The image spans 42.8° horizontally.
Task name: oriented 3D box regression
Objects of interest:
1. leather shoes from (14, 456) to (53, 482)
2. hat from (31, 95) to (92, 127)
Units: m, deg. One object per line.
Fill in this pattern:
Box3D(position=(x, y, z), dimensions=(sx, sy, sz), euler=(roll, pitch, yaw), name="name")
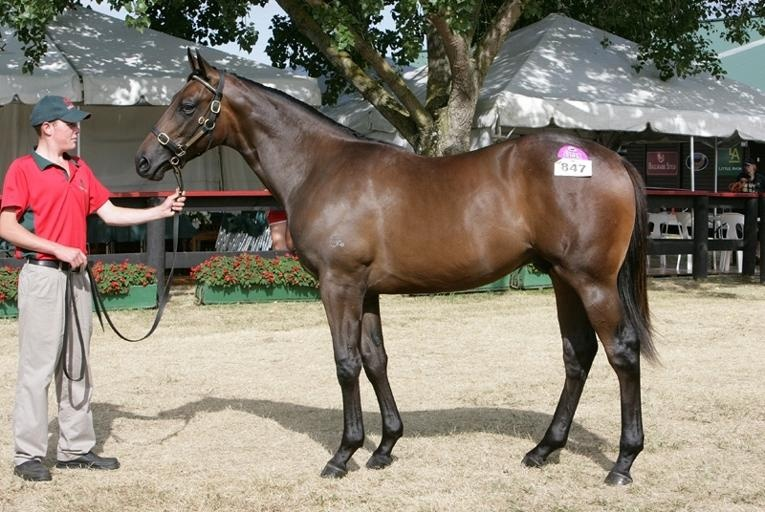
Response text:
Box3D(position=(-3.596, 2.212, 10.068), dimensions=(0.356, 0.150, 0.203), euler=(2, 3, 26), name="leather shoes")
Box3D(position=(-3.337, -1.523, 10.151), dimensions=(0.514, 0.261, 0.329), euler=(-1, 16, -8), name="hat")
